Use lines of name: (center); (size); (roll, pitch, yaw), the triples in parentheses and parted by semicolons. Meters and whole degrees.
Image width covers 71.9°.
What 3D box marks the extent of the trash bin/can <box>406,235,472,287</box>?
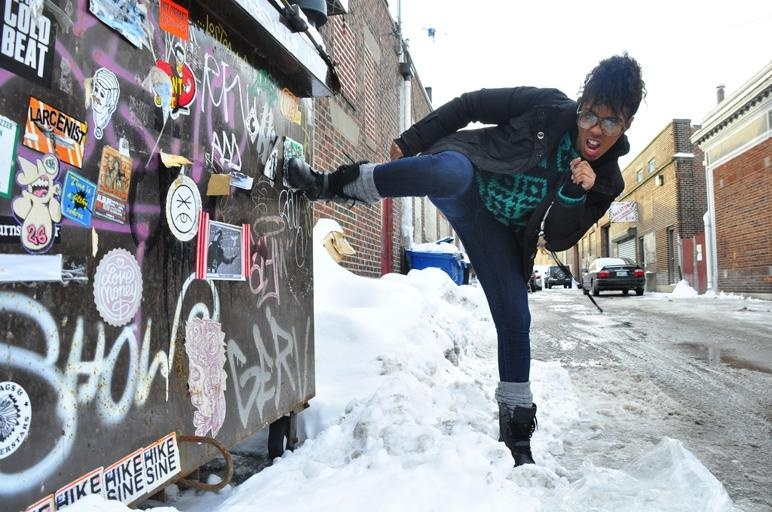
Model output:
trash bin/can: (1.124, 0.072, 11.670); (1.089, 1.303, 1.032); (1, 1, 8)

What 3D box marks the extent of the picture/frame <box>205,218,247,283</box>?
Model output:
picture/frame: (-0.723, -0.017, 2.367); (0.019, 0.247, 0.261); (3, -1, 27)

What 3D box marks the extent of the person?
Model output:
person: (0.501, 0.061, 3.100); (1.366, 2.359, 1.073); (9, 2, 10)
